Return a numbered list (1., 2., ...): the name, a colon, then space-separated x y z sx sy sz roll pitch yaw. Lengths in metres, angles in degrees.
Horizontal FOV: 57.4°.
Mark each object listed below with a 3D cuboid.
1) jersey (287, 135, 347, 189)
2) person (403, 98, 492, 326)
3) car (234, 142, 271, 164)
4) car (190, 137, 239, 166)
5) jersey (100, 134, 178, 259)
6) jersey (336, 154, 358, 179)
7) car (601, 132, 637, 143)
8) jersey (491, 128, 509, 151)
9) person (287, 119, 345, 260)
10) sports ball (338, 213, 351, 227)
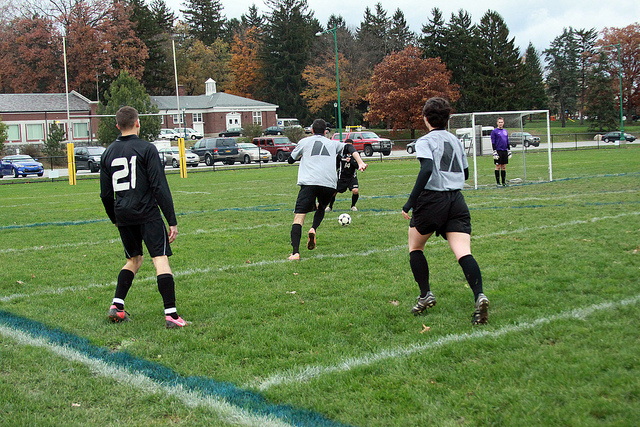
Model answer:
1. jersey: 0.015 -0.859 9.629 1.017 0.913 0.641 2 -2 3
2. person: 1.427 -0.101 6.729 0.937 2.423 1.213 0 13 14
3. car: -4.775 -4.138 39.785 1.391 0.966 2.246 -4 4 -43
4. car: -7.399 -4.316 40.234 1.987 1.442 3.575 -6 13 -38
5. jersey: -2.102 -0.184 6.751 0.940 1.448 0.435 3 13 26
6. jersey: 0.558 -1.041 12.600 0.601 0.566 0.334 3 -7 -8
7. car: 26.379 -6.801 51.970 1.789 0.888 4.581 -1 13 8
8. jersey: 5.268 -2.195 17.101 0.434 0.648 0.343 0 12 10
9. person: -0.121 -0.446 9.442 0.550 2.125 1.172 8 16 41
10. sports ball: 0.500 0.123 11.758 0.253 0.239 0.252 1 -5 0
